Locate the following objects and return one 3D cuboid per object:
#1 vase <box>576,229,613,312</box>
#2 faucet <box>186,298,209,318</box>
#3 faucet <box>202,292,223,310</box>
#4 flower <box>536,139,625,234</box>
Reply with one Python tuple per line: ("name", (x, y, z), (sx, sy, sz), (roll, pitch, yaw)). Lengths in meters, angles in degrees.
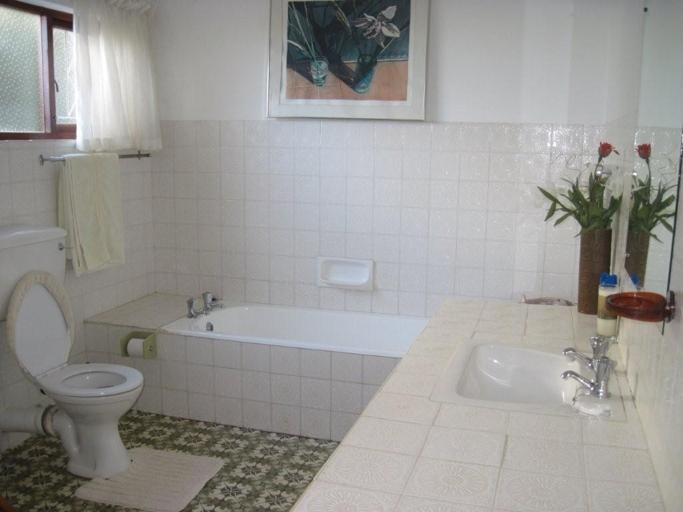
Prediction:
("vase", (1.494, 0.083, 3.074), (0.174, 0.486, 0.254), (9, 13, 28))
("faucet", (-1.141, 0.407, 4.050), (0.179, 0.063, 0.124), (5, 9, 23))
("faucet", (-1.019, 0.347, 4.099), (0.135, 0.131, 0.140), (6, 15, 28))
("flower", (1.481, -0.406, 3.153), (0.422, 0.565, 0.528), (8, 8, 32))
